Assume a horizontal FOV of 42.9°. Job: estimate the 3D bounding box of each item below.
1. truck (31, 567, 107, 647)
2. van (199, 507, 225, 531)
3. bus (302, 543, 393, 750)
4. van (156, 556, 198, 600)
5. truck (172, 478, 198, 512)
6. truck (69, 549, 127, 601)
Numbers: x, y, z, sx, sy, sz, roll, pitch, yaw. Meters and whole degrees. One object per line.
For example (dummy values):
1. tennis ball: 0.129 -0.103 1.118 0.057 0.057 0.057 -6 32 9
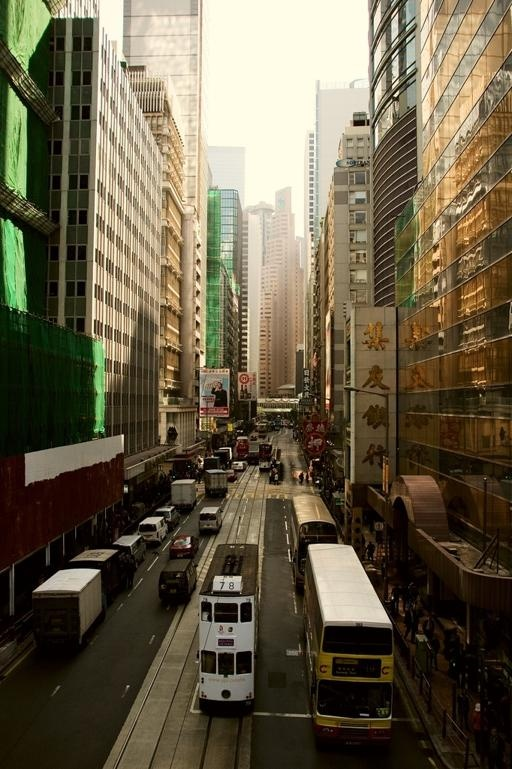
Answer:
1. truck: -6.200 7.565 21.561 1.460 2.302 2.962 -3 -2 1
2. van: -3.010 9.023 43.547 0.729 1.266 1.771 0 1 3
3. bus: 2.170 6.320 15.916 0.942 2.757 5.803 0 -7 3
4. van: -3.236 8.316 27.583 0.767 1.340 1.863 1 4 3
5. truck: -5.741 8.960 53.058 1.012 2.266 2.941 0 2 2
6. truck: -6.366 8.208 27.145 1.163 2.209 2.842 -11 -1 -2
